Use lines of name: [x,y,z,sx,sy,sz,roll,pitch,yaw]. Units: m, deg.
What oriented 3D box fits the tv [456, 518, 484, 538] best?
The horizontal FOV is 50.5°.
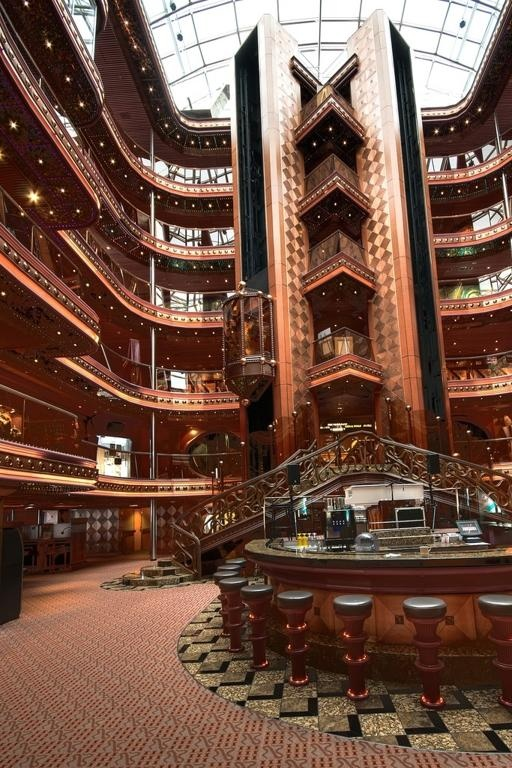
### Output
tv: [1.582,1.073,4.022,0.186,0.118,0.154,-11,-15,30]
